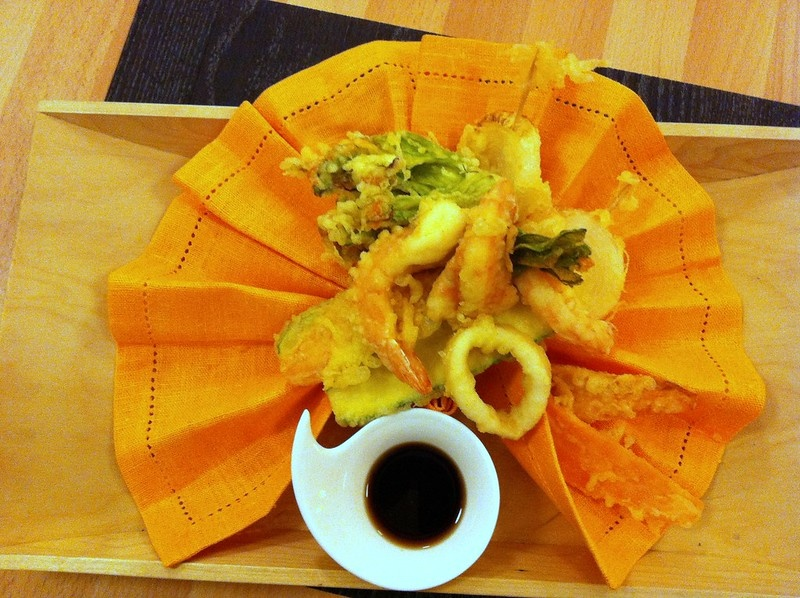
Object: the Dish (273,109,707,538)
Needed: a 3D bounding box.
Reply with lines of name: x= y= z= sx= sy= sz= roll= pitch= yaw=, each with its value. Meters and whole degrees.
Dish: x=0.040 y=-0.101 z=1.679 sx=0.824 sy=0.917 sz=0.301 roll=-33 pitch=56 yaw=-28
